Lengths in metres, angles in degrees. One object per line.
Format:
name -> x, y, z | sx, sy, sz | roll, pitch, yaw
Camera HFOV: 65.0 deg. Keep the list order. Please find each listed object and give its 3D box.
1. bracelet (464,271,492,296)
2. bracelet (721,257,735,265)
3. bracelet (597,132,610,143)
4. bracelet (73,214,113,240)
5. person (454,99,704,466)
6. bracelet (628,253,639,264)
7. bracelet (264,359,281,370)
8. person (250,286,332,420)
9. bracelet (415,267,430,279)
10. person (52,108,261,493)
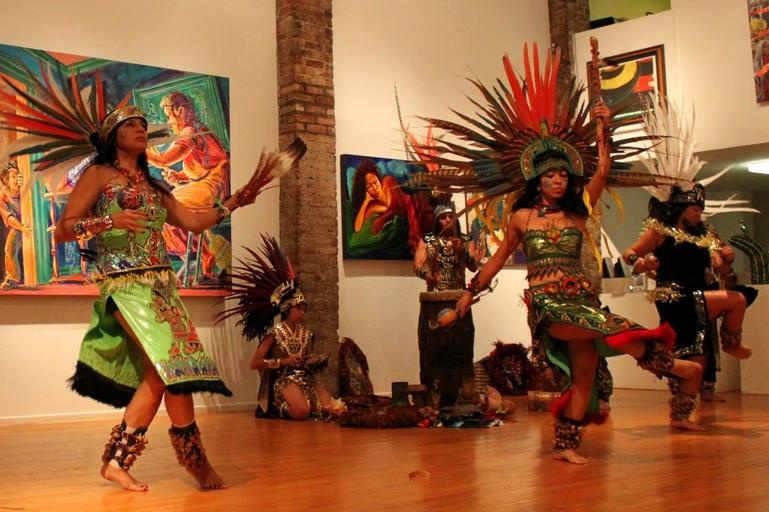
bracelet -> 0.674, 0.203, 4.162 | 0.199, 0.142, 0.073 | -22, -30, 12
bracelet -> 2.995, 0.042, 5.290 | 0.070, 0.067, 0.024 | 6, 45, 7
bracelet -> 1.445, -0.772, 4.003 | 0.072, 0.025, 0.072 | 11, -6, -7
bracelet -> -1.583, -0.154, 3.273 | 0.212, 0.126, 0.088 | -1, 22, 18
person -> 1.210, 0.180, 3.908 | 1.271, 2.306, 0.614 | -3, 3, 28
bracelet -> 1.971, 0.020, 4.793 | 0.069, 0.066, 0.039 | -17, -29, 36
bracelet -> -1.136, 1.103, 6.164 | 0.136, 0.087, 0.064 | 2, 16, 9
person -> -0.985, 0.972, 6.259 | 0.914, 0.930, 0.522 | -4, 3, 9
bracelet -> 0.386, 0.174, 6.152 | 0.090, 0.115, 0.071 | 1, 45, 29
person -> -1.326, 0.238, 3.513 | 0.909, 1.791, 0.624 | -4, 3, 17
